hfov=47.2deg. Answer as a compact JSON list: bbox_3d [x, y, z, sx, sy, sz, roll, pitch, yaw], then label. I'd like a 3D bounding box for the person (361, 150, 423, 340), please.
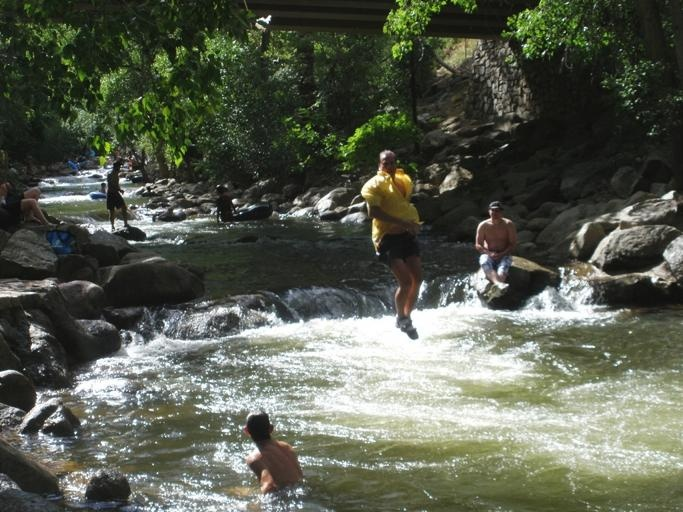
[{"bbox_3d":[0.815,-0.104,11.998,0.800,2.938,0.737,-2,12,5],"label":"person"}]

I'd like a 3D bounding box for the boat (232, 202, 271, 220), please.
[{"bbox_3d":[-2.980,-1.431,26.461,1.076,0.388,0.519,-20,17,-26],"label":"boat"}]

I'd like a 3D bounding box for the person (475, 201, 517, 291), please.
[{"bbox_3d":[2.931,-0.271,14.764,0.715,1.385,1.040,0,13,11],"label":"person"}]

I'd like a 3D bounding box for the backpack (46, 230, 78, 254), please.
[{"bbox_3d":[-5.141,-0.241,14.265,0.482,0.404,0.616,-7,13,-17],"label":"backpack"}]

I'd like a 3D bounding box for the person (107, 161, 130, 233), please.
[{"bbox_3d":[-6.637,-1.766,23.001,0.668,1.955,0.627,0,6,12],"label":"person"}]
